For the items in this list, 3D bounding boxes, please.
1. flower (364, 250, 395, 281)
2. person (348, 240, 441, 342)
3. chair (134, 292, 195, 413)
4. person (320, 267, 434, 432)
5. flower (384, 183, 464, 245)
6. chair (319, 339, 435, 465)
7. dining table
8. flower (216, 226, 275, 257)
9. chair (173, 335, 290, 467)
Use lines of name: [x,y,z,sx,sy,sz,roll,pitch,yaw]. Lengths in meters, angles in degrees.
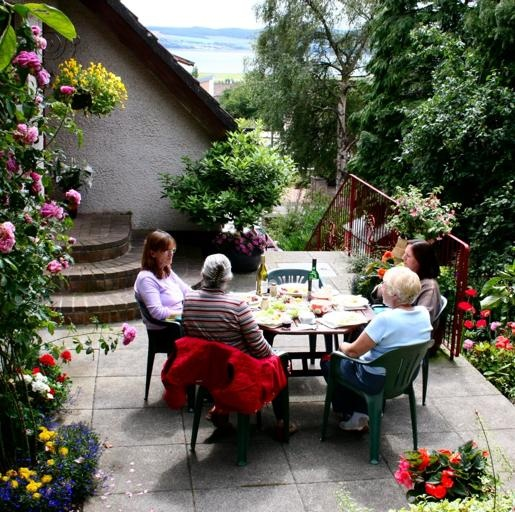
flower: [1.343,0.107,5.182,0.198,0.268,0.290,35,49,23]
person: [1.217,0.312,4.079,0.751,0.877,0.662,11,-1,-44]
chair: [-0.733,0.777,3.959,0.600,0.651,0.503,2,-4,-21]
person: [0.809,0.693,3.221,0.674,1.261,0.432,6,14,17]
flower: [1.893,-0.500,5.467,0.961,0.875,0.932,4,16,12]
chair: [0.820,0.959,3.361,0.737,0.738,0.701,2,2,8]
dining table: [0.289,0.902,4.123,0.978,0.513,0.899,10,-9,-18]
flower: [-0.209,-0.218,7.395,0.952,0.389,0.917,1,2,0]
chair: [-0.164,0.937,3.062,0.870,0.837,0.403,-1,14,-10]
